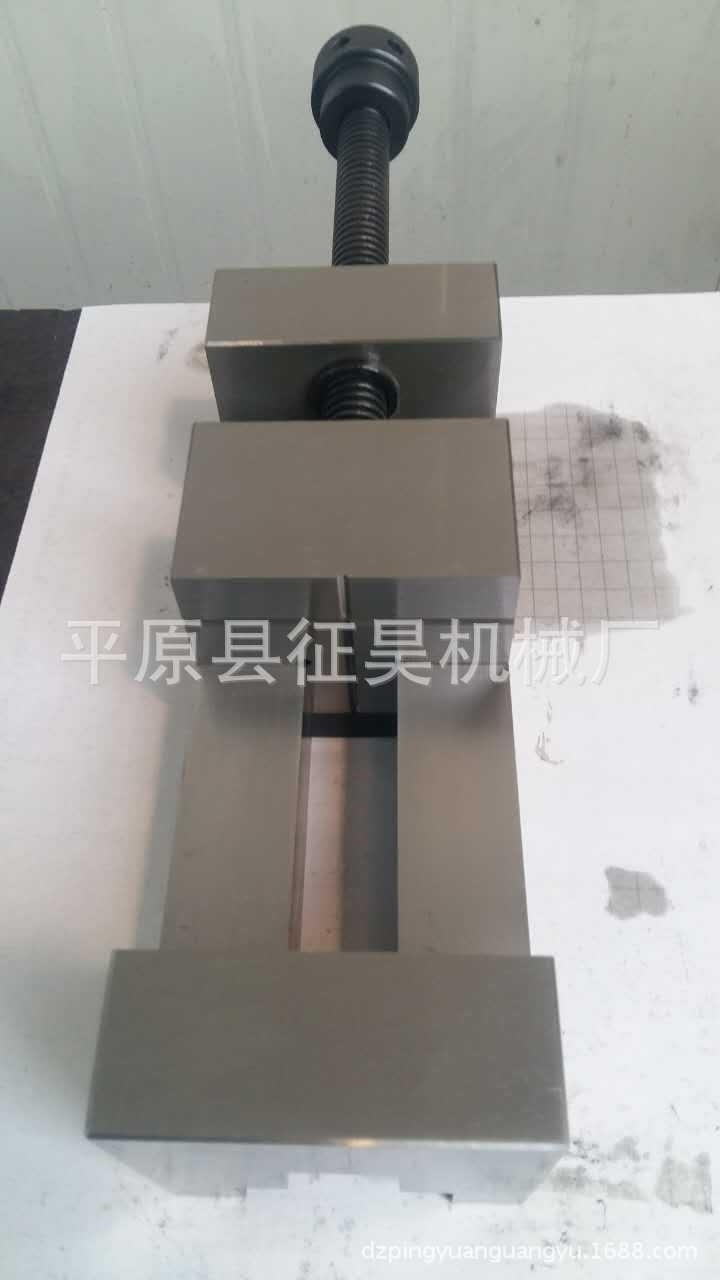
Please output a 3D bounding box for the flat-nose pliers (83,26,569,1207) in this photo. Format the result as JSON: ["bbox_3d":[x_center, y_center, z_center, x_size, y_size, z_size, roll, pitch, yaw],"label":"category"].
[{"bbox_3d":[-0.029,-0.086,0.950,0.348,1.037,0.352,10,-20,-38],"label":"flat-nose pliers"}]
